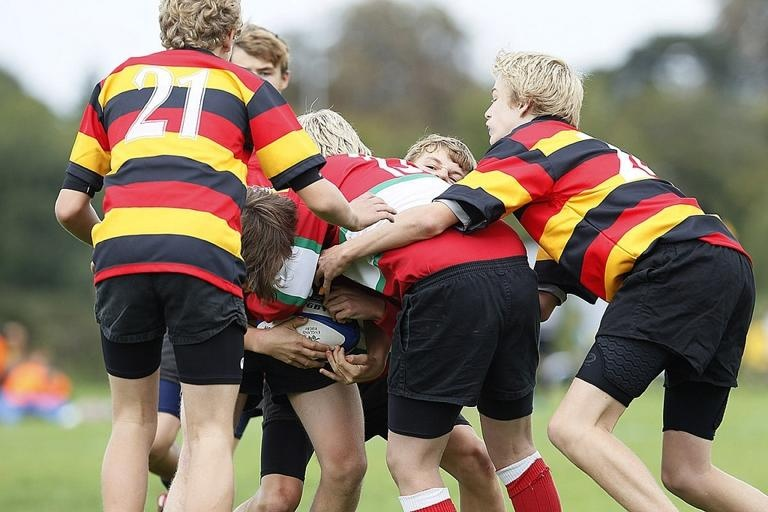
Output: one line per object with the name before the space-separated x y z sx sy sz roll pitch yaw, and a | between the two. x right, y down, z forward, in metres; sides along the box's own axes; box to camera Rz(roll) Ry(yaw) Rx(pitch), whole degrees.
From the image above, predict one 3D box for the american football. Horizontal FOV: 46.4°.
american football | -0.433 0.436 5.569 0.507 0.336 0.334 12 0 0
